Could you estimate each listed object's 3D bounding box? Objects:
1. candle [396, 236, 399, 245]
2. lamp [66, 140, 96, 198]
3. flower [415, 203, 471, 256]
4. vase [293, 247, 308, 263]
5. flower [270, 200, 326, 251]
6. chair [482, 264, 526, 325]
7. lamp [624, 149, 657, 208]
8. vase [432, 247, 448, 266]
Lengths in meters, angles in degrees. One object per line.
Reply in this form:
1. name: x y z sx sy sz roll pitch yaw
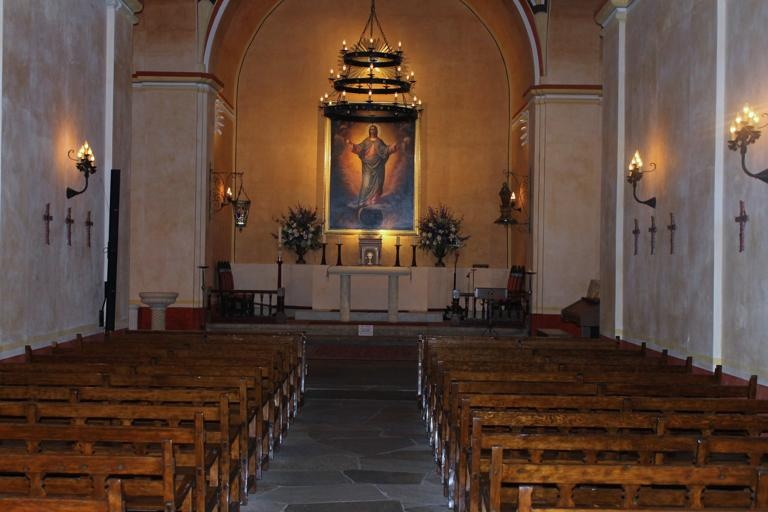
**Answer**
1. candle: 0.342 -0.386 22.209 0.108 0.211 0.222 -6 5 1
2. lamp: -4.110 -1.196 12.432 0.328 0.761 0.832 -6 5 0
3. flower: 1.476 -0.624 22.040 1.115 1.364 1.170 1 -1 -36
4. vase: -2.001 -0.005 21.735 0.327 0.480 0.371 1 -11 0
5. flower: -2.062 -0.693 21.930 1.020 1.301 1.111 0 -4 33
6. chair: 2.776 0.840 19.644 1.120 1.790 1.191 1 -4 -1
7. lamp: 3.645 -1.106 12.935 0.321 0.830 0.997 -6 5 6
8. vase: 1.371 0.005 22.002 0.369 0.612 0.401 1 1 3
